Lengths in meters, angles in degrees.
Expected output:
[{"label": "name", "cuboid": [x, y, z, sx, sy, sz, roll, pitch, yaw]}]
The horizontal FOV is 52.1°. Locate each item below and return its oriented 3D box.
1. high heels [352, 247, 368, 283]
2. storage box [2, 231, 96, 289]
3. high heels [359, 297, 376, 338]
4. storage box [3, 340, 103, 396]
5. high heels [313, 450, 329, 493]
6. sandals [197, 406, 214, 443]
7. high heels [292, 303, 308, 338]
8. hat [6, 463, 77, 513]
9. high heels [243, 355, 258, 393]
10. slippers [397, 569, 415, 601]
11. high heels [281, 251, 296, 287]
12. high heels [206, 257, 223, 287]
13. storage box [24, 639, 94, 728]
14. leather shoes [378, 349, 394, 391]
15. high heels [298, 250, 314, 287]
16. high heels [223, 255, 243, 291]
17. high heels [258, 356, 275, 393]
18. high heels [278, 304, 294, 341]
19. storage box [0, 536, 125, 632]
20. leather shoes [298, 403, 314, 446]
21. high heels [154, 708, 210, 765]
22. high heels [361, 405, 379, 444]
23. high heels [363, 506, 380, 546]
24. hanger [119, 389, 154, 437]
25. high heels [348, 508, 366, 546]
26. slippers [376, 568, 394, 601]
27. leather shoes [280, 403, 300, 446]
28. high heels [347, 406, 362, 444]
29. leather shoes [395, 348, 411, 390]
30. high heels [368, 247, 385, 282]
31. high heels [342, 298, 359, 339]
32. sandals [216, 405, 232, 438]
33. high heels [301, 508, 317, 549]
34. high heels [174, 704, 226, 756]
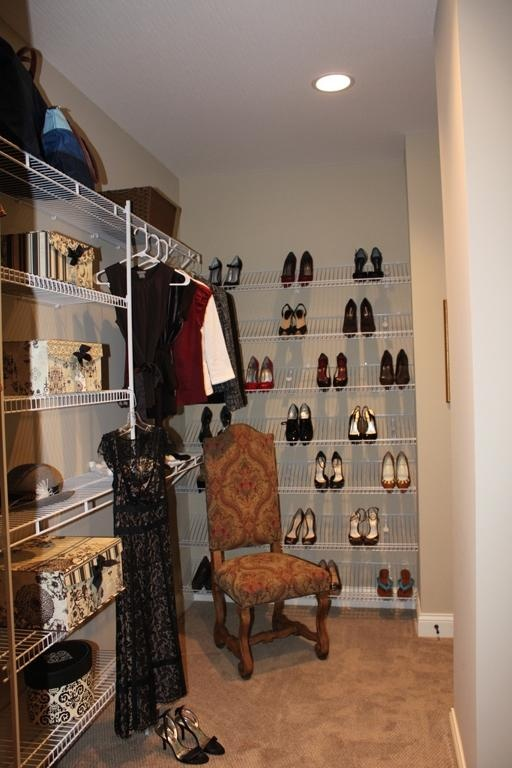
[{"label": "high heels", "cuboid": [0.621, -0.706, 3.163, 0.093, 0.274, 0.073, -3, -33, 17]}, {"label": "storage box", "cuboid": [-0.636, -0.395, 1.695, 0.138, 0.179, 0.353, -2, -4, 21]}, {"label": "high heels", "cuboid": [0.655, -0.414, 3.165, 0.085, 0.257, 0.096, -10, -24, 14]}, {"label": "storage box", "cuboid": [-0.624, -0.051, 1.658, 0.112, 0.191, 0.441, -2, -4, 15]}, {"label": "high heels", "cuboid": [0.393, 0.536, 3.171, 0.074, 0.219, 0.055, -1, -32, 7]}, {"label": "sandals", "cuboid": [-0.329, 0.274, 3.385, 0.094, 0.293, 0.082, -2, -28, 8]}, {"label": "high heels", "cuboid": [0.273, -0.403, 3.303, 0.072, 0.238, 0.059, -6, -36, 14]}, {"label": "hat", "cuboid": [-0.683, 0.310, 1.638, 0.117, 0.060, 0.145, 4, 13, -5]}, {"label": "high heels", "cuboid": [-0.021, -0.059, 3.348, 0.072, 0.242, 0.089, -4, -19, 30]}, {"label": "slippers", "cuboid": [0.880, 1.186, 3.104, 0.105, 0.177, 0.189, 0, -1, 10]}, {"label": "high heels", "cuboid": [0.197, -0.713, 3.241, 0.076, 0.252, 0.059, -4, -18, 24]}, {"label": "high heels", "cuboid": [-0.259, -0.689, 3.303, 0.095, 0.274, 0.067, -4, -9, 28]}, {"label": "storage box", "cuboid": [-0.600, 0.940, 1.698, 0.213, 0.214, 0.239, -2, -4, -1]}, {"label": "leather shoes", "cuboid": [0.787, -0.089, 3.142, 0.076, 0.251, 0.091, -1, -13, 27]}, {"label": "high heels", "cuboid": [0.308, -0.698, 3.198, 0.078, 0.255, 0.071, -2, -14, 19]}, {"label": "high heels", "cuboid": [-0.153, -0.702, 3.314, 0.082, 0.271, 0.102, -4, -15, 37]}, {"label": "high heels", "cuboid": [0.056, -0.066, 3.317, 0.093, 0.221, 0.158, -1, -4, 4]}, {"label": "high heels", "cuboid": [0.202, -0.406, 3.308, 0.083, 0.247, 0.074, -4, -27, 28]}, {"label": "storage box", "cuboid": [-0.625, 0.620, 1.655, 0.273, 0.202, 0.430, -1, -4, 7]}, {"label": "leather shoes", "cuboid": [0.308, 0.247, 3.247, 0.086, 0.247, 0.076, -8, -25, 16]}, {"label": "high heels", "cuboid": [-0.270, 1.262, 1.898, 0.083, 0.108, 0.237, 8, -12, -34]}, {"label": "high heels", "cuboid": [0.659, 0.234, 3.074, 0.068, 0.077, 0.231, -6, 28, 0]}, {"label": "high heels", "cuboid": [0.689, 0.844, 3.133, 0.092, 0.170, 0.340, -2, -4, 13]}, {"label": "hanger", "cuboid": [-0.481, 0.116, 2.130, 0.163, 0.197, 0.016, -7, 15, -19]}, {"label": "high heels", "cuboid": [0.603, 0.855, 3.108, 0.070, 0.092, 0.228, 1, 19, 8]}, {"label": "slippers", "cuboid": [0.739, 1.189, 3.115, 0.086, 0.155, 0.149, 2, -19, 2]}, {"label": "leather shoes", "cuboid": [0.214, 0.251, 3.273, 0.083, 0.259, 0.099, -2, -35, 10]}, {"label": "high heels", "cuboid": [0.586, 0.243, 3.087, 0.064, 0.210, 0.084, -1, -12, 30]}, {"label": "leather shoes", "cuboid": [0.864, -0.083, 3.095, 0.079, 0.258, 0.097, -6, -31, 22]}, {"label": "high heels", "cuboid": [0.728, -0.716, 3.159, 0.090, 0.283, 0.081, -2, -27, 12]}, {"label": "high heels", "cuboid": [0.575, -0.389, 3.176, 0.086, 0.262, 0.095, -5, -19, 27]}, {"label": "sandals", "cuboid": [-0.204, 0.222, 3.384, 0.081, 0.254, 0.066, 4, -9, 17]}, {"label": "high heels", "cuboid": [0.319, 0.880, 3.156, 0.071, 0.082, 0.214, -3, 6, 1]}, {"label": "high heels", "cuboid": [-0.198, 1.251, 1.945, 0.077, 0.146, 0.247, 6, -6, -41]}]
